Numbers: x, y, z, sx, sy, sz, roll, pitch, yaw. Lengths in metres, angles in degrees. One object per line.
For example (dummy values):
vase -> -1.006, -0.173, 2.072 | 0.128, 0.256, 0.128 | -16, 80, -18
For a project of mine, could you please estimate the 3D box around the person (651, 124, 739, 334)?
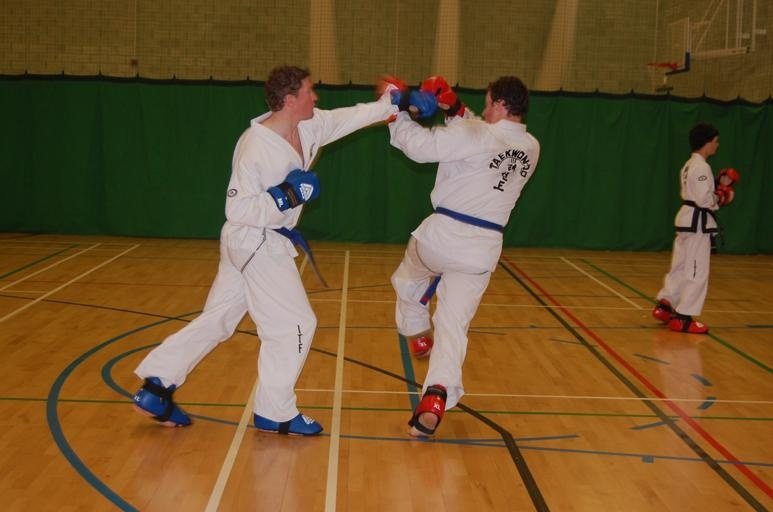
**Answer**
person -> 3.911, -0.357, 7.759 | 0.643, 2.456, 1.122 | 11, 21, 25

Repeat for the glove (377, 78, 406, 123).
glove -> 0.048, -1.492, 5.732 | 0.239, 0.444, 0.182 | 5, 4, 7

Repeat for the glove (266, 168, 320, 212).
glove -> -0.771, -0.551, 4.964 | 0.472, 0.364, 0.198 | 2, 24, -30
